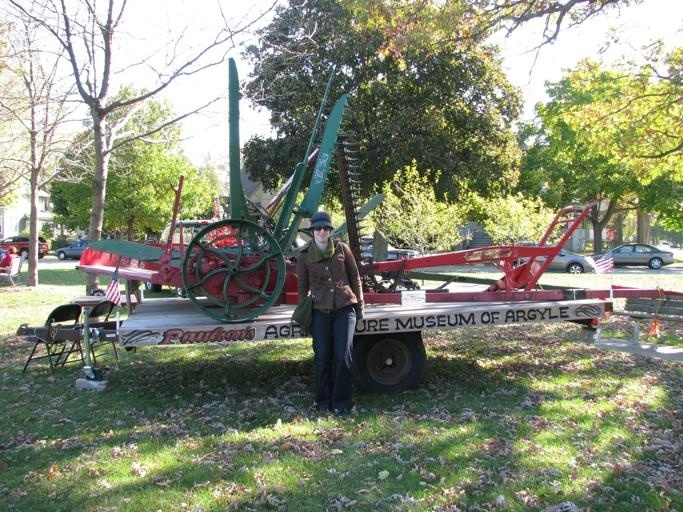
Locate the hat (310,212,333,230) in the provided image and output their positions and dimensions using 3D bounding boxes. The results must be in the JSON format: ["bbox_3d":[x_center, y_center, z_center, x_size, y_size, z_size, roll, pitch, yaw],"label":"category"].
[{"bbox_3d":[-0.252,-0.438,7.295,0.289,0.237,0.228,-1,8,-2],"label":"hat"}]

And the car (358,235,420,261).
[{"bbox_3d":[1.601,-0.132,20.792,2.339,0.975,1.193,-3,5,-12],"label":"car"}]

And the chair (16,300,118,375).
[{"bbox_3d":[-4.325,1.365,9.161,1.357,1.178,0.897,4,4,26],"label":"chair"}]

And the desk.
[{"bbox_3d":[-3.583,1.066,8.438,0.826,0.938,0.723,1,-4,-4],"label":"desk"}]

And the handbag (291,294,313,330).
[{"bbox_3d":[-0.484,0.752,7.276,0.242,0.494,0.193,-5,9,-27],"label":"handbag"}]

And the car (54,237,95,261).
[{"bbox_3d":[-19.050,-0.445,40.670,1.738,1.363,5.486,-5,10,-27],"label":"car"}]

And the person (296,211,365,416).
[{"bbox_3d":[-0.157,0.696,7.284,0.795,2.468,0.611,1,8,14],"label":"person"}]

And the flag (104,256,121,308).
[{"bbox_3d":[-3.323,0.464,8.395,0.200,0.580,0.426,-4,9,-23],"label":"flag"}]

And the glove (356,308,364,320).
[{"bbox_3d":[0.245,0.763,7.388,0.103,0.124,0.114,2,-5,-7],"label":"glove"}]
